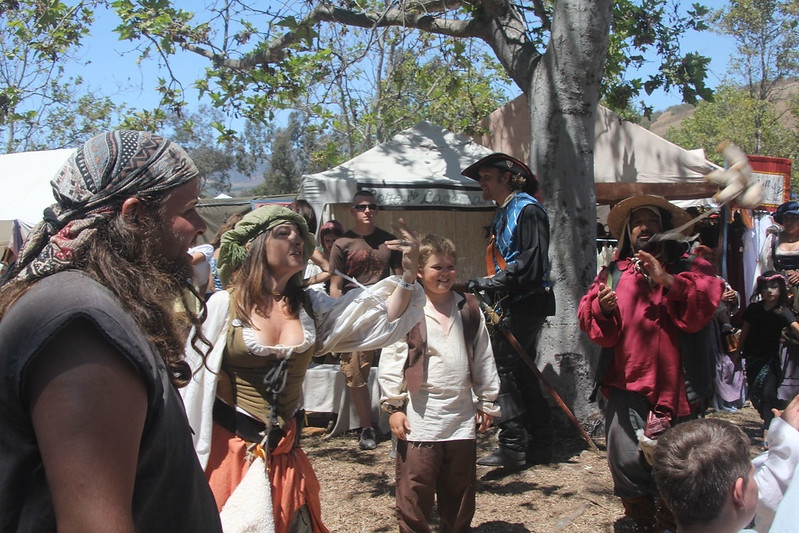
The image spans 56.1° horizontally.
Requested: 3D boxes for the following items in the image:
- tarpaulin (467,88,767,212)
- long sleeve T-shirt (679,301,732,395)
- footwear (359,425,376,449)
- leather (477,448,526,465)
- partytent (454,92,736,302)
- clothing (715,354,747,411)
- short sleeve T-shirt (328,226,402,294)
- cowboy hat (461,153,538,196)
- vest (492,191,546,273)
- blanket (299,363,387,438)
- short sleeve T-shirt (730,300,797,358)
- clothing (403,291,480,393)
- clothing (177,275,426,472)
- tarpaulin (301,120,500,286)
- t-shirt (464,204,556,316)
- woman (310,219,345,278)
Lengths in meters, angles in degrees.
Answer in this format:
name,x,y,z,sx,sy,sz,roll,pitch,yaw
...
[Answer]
name,x,y,z,sx,sy,sz,roll,pitch,yaw
tarpaulin,3.506,-1.699,11.836,2.671,1.085,3.399,3,5,2
long sleeve T-shirt,2.221,0.540,5.494,0.338,0.743,0.263,5,2,-18
footwear,-0.316,1.692,7.414,0.148,0.164,0.397,1,-13,-3
leather,0.920,1.717,6.836,0.454,0.182,0.172,2,-11,2
partytent,3.007,-1.138,11.565,3.043,1.436,3.082,-1,-4,22
clothing,3.780,1.263,8.475,0.337,0.805,0.278,-4,-38,23
short sleeve T-shirt,-0.349,-0.044,7.978,0.817,0.641,0.350,0,22,-4
cowboy hat,1.016,-0.771,7.051,0.582,0.178,0.494,16,7,-26
vest,1.134,-0.249,6.827,0.438,0.770,0.628,9,20,28
blanket,-0.705,1.415,8.051,1.162,0.576,0.953,-2,-15,-12
short sleeve T-shirt,3.825,0.666,7.818,0.228,0.518,0.549,8,3,-36
clothing,0.455,0.544,5.735,0.593,0.776,0.501,5,23,32
clothing,-0.613,0.723,4.974,1.804,1.446,0.728,2,2,-24
tarpaulin,0.024,-0.898,9.471,2.290,1.122,2.223,1,-5,-9
t-shirt,1.099,-0.082,7.097,0.896,1.226,0.972,2,2,11
woman,-0.788,-0.161,8.774,0.413,0.671,0.417,1,-17,1
